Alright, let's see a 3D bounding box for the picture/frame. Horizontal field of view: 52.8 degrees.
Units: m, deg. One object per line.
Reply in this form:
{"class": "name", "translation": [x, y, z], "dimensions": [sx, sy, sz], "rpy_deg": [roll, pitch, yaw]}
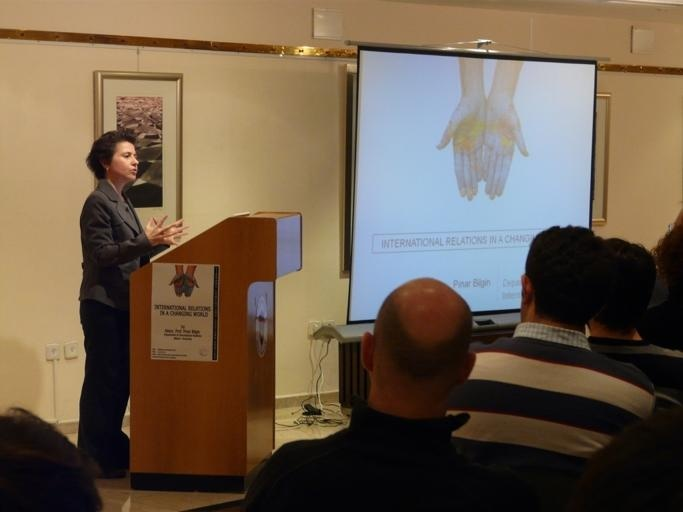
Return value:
{"class": "picture/frame", "translation": [-1.398, -0.772, 4.731], "dimensions": [0.612, 1.268, 0.045], "rpy_deg": [-4, -28, -7]}

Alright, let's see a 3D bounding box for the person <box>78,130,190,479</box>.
{"class": "person", "translation": [-1.260, 0.253, 3.925], "dimensions": [0.557, 1.903, 0.583], "rpy_deg": [-3, 9, -19]}

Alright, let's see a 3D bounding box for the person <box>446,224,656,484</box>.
{"class": "person", "translation": [0.742, 0.322, 2.530], "dimensions": [0.813, 0.847, 0.428], "rpy_deg": [5, -3, 21]}
